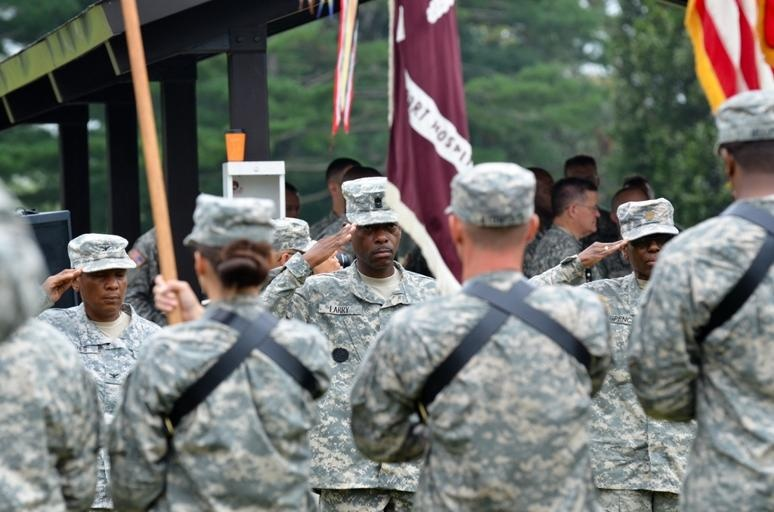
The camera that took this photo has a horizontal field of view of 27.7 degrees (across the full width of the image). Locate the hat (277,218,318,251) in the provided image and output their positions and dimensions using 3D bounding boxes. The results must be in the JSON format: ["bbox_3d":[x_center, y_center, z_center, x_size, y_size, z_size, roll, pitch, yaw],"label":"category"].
[{"bbox_3d":[-0.741,-0.158,12.512,0.336,0.176,0.222,-1,9,-18],"label":"hat"}]

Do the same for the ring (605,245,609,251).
[{"bbox_3d":[1.638,-0.046,11.864,0.041,0.013,0.020,-11,47,31],"label":"ring"}]

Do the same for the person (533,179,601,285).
[{"bbox_3d":[1.541,-0.177,13.621,0.452,0.742,0.903,-2,6,-4],"label":"person"}]
